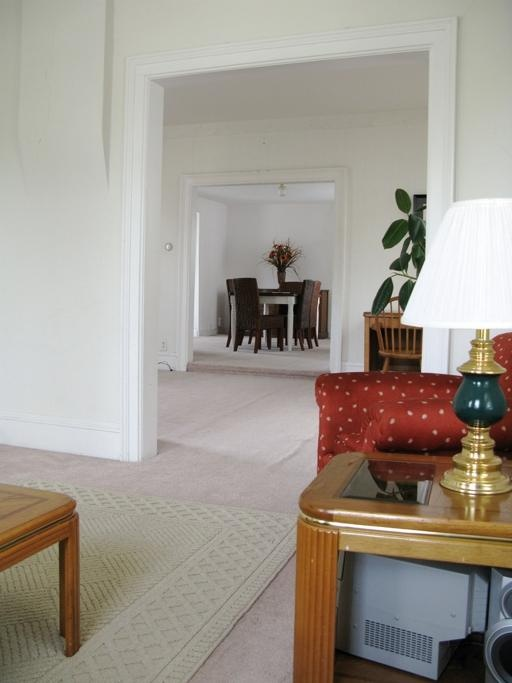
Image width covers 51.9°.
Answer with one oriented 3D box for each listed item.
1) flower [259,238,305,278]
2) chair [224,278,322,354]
[{"bbox_3d":[0.666,-1.649,10.227,1.012,0.998,0.989,-4,12,-16],"label":"flower"},{"bbox_3d":[0.273,-0.459,8.444,1.208,0.993,1.512,3,10,22],"label":"chair"}]
